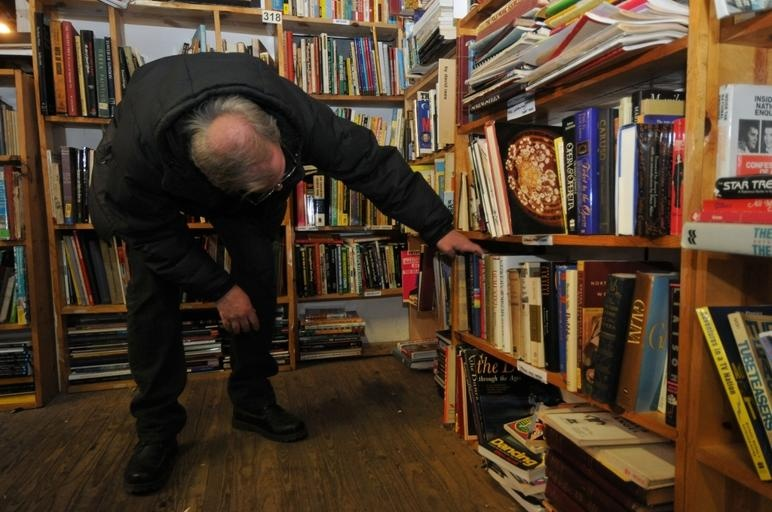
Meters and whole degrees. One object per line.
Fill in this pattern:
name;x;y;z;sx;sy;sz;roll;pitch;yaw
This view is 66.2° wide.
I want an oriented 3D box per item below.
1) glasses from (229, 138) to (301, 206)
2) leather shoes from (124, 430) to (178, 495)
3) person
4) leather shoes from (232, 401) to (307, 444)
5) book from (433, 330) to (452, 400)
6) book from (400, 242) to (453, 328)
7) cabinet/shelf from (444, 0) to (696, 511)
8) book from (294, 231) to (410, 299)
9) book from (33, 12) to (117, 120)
glasses;-0.447;-0.297;2.161;0.216;0.208;0.062;-18;-46;36
leather shoes;-0.936;0.818;2.350;0.106;0.123;0.279;2;11;-14
person;-0.414;0.073;2.592;1.636;1.770;1.095;1;32;-5
leather shoes;-0.506;0.725;2.647;0.369;0.137;0.134;2;10;23
book;0.272;0.528;2.950;0.086;0.252;0.189;1;2;-7
book;0.194;0.133;2.835;0.292;0.369;0.118;0;7;-21
cabinet/shelf;0.726;0.027;2.214;0.541;1.628;0.982;-5;5;-23
book;-0.212;0.028;3.552;0.699;0.347;0.324;-2;5;-4
book;-1.594;-0.918;3.286;0.472;0.627;0.674;-2;10;-20
